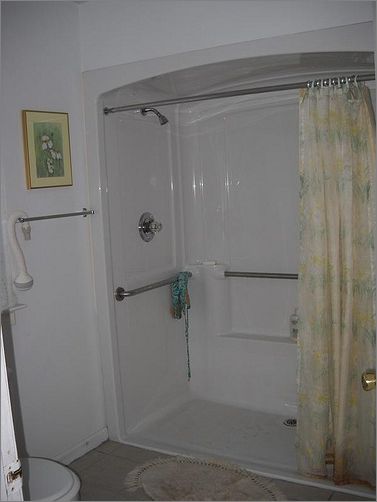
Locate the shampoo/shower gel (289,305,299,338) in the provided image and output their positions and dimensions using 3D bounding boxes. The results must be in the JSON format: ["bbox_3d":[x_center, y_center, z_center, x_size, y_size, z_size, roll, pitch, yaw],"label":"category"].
[{"bbox_3d":[0.660,0.457,2.889,0.045,0.200,0.081,-3,2,5],"label":"shampoo/shower gel"}]
